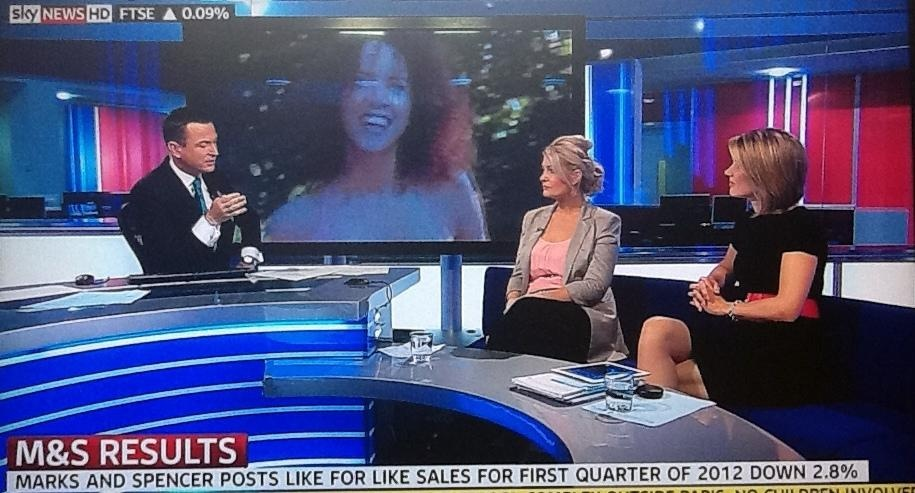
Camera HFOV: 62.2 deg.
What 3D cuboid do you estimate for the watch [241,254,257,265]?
[{"bbox_3d":[-1.505,0.089,5.461,0.088,0.067,0.100,4,-10,-31],"label":"watch"}]

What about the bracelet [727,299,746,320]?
[{"bbox_3d":[1.838,0.419,4.992,0.052,0.095,0.120,6,42,20],"label":"bracelet"}]

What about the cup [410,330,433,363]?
[{"bbox_3d":[-0.233,0.635,4.857,0.146,0.172,0.140,-1,10,0],"label":"cup"}]
